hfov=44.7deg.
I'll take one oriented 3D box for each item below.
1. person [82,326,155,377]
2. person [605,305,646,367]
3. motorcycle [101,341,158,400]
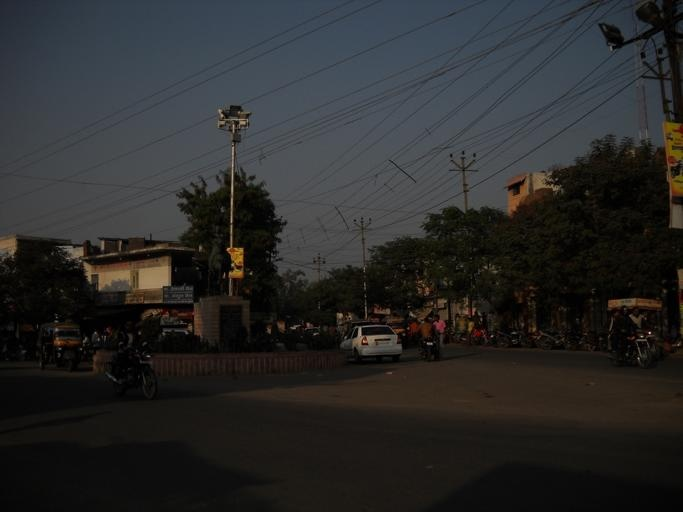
[{"bbox_3d":[-5.809,2.681,21.620,0.947,1.138,1.943,7,-21,-34],"label":"person"},{"bbox_3d":[9.000,2.664,26.451,1.014,1.230,1.856,1,-6,-6],"label":"person"},{"bbox_3d":[-5.370,2.981,21.210,1.745,0.933,0.716,-8,-24,35],"label":"motorcycle"}]
